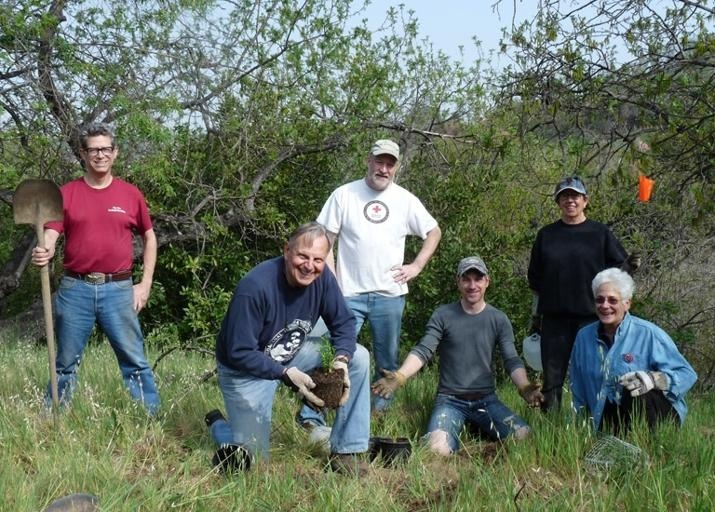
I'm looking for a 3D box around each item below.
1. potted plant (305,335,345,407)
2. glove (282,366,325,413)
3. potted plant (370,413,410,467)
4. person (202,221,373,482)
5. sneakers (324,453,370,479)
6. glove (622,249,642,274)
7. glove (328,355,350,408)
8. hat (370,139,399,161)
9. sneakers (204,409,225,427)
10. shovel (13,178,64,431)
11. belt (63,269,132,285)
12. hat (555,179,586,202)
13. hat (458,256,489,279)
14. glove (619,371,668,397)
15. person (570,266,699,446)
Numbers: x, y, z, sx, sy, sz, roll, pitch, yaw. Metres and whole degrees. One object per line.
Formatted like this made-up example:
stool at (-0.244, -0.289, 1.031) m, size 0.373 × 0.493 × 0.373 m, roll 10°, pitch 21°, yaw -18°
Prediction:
potted plant at (-0.258, 1.029, 5.628) m, size 0.350 × 0.428 × 0.372 m, roll -15°, pitch 20°, yaw -36°
glove at (-0.449, 1.131, 5.593) m, size 0.406 × 0.225 × 0.112 m, roll 48°, pitch -26°, yaw -4°
potted plant at (0.298, 1.763, 5.951) m, size 0.376 × 0.228 × 0.393 m, roll 4°, pitch -6°, yaw 0°
person at (-0.539, 0.783, 5.746) m, size 1.350 × 2.083 × 0.788 m, roll 5°, pitch -6°, yaw -14°
sneakers at (-0.072, 1.766, 5.599) m, size 0.244 × 0.103 × 0.201 m, roll 14°, pitch -28°, yaw 5°
glove at (3.267, 0.049, 7.859) m, size 0.170 × 0.238 × 0.105 m, roll -19°, pitch 46°, yaw -28°
glove at (-0.117, 1.041, 5.611) m, size 0.237 × 0.317 × 0.331 m, roll 1°, pitch -6°, yaw 2°
hat at (0.282, -1.106, 6.829) m, size 0.174 × 0.137 × 0.265 m, roll 12°, pitch -3°, yaw -4°
sneakers at (-1.294, 1.452, 5.991) m, size 0.160 × 0.168 × 0.128 m, roll 1°, pitch 6°, yaw -28°
shovel at (-2.922, 0.402, 6.003) m, size 0.534 × 2.157 × 0.655 m, roll 6°, pitch -6°, yaw -26°
belt at (-2.513, 0.198, 6.346) m, size 0.604 × 0.169 × 0.171 m, roll 5°, pitch -6°, yaw -8°
hat at (2.174, -0.690, 6.739) m, size 0.304 × 0.239 × 0.235 m, roll 1°, pitch -6°, yaw 21°
hat at (1.161, 0.105, 6.652) m, size 0.271 × 0.223 × 0.249 m, roll 2°, pitch -6°, yaw 13°
glove at (2.555, 1.109, 5.870) m, size 0.322 × 0.157 × 0.228 m, roll -2°, pitch 26°, yaw -21°
person at (2.498, 0.937, 6.193) m, size 0.920 × 1.614 × 1.071 m, roll -4°, pitch 2°, yaw -29°
